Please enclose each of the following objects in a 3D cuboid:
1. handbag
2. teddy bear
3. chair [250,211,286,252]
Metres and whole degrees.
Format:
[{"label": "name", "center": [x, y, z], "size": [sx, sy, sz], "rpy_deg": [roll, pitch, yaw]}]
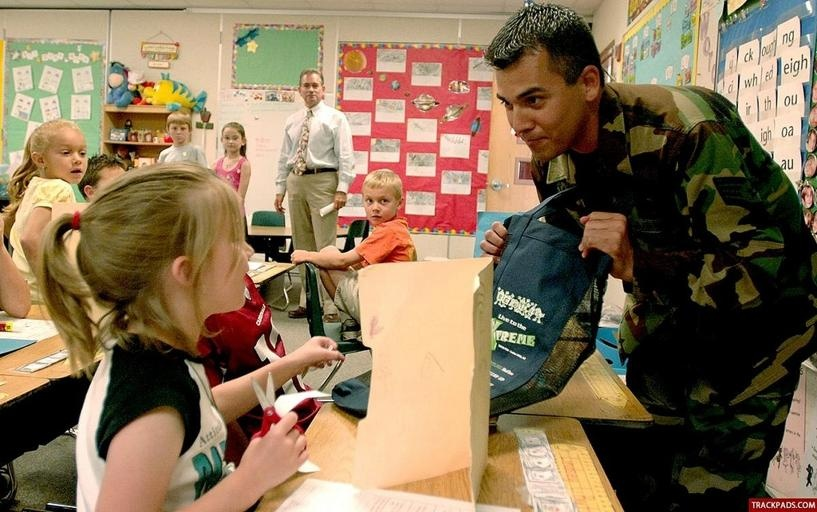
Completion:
[{"label": "handbag", "center": [0.199, 0.117, 2.083], "size": [0.810, 0.719, 0.549], "rpy_deg": [-2, 6, 5]}, {"label": "teddy bear", "center": [-2.841, -1.827, 6.799], "size": [0.998, 0.371, 0.620], "rpy_deg": [5, 4, -3]}, {"label": "chair", "center": [-1.352, -0.251, 6.271], "size": [0.455, 0.533, 0.468], "rpy_deg": [0, 4, -6]}]
